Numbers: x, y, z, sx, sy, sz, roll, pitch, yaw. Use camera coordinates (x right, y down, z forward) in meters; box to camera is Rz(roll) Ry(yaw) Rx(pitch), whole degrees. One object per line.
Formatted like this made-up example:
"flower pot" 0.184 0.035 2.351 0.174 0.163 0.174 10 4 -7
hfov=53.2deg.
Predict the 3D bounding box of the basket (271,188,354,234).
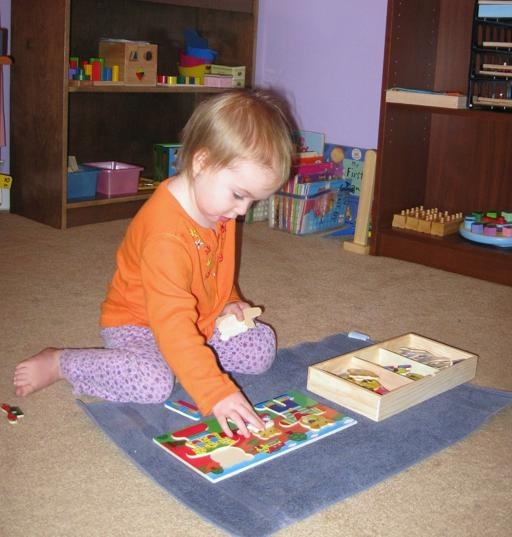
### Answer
"basket" 0.275 -0.259 2.508 0.282 0.162 0.271 -12 27 -28

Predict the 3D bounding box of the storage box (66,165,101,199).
"storage box" -0.787 -0.383 2.326 0.126 0.096 0.161 -5 12 -21

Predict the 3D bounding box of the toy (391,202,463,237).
"toy" 0.718 -0.203 2.140 0.264 0.086 0.260 11 17 29

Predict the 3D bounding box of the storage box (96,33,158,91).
"storage box" -0.569 -0.928 2.326 0.268 0.232 0.252 -7 24 -22
